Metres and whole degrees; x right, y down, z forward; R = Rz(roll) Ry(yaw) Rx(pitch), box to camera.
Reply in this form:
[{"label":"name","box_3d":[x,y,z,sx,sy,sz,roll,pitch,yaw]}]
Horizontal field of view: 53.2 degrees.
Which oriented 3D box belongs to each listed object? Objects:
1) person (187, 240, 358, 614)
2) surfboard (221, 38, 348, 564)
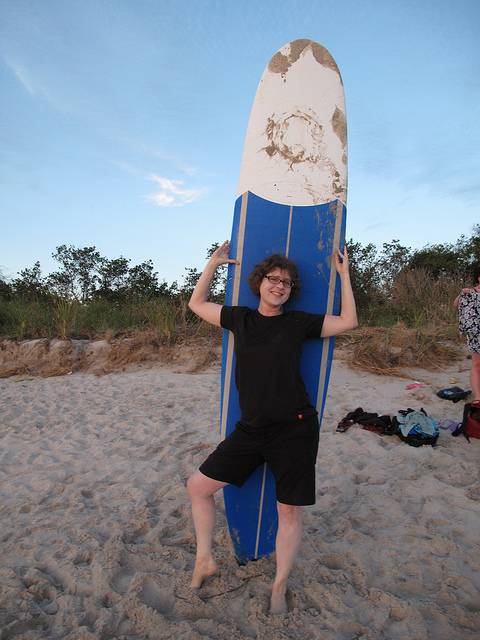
[{"label":"person","box_3d":[0.125,0.444,2.161,0.756,1.466,0.579,1,7,13]},{"label":"surfboard","box_3d":[0.237,-0.233,2.565,0.636,2.731,0.930,1,7,12]}]
